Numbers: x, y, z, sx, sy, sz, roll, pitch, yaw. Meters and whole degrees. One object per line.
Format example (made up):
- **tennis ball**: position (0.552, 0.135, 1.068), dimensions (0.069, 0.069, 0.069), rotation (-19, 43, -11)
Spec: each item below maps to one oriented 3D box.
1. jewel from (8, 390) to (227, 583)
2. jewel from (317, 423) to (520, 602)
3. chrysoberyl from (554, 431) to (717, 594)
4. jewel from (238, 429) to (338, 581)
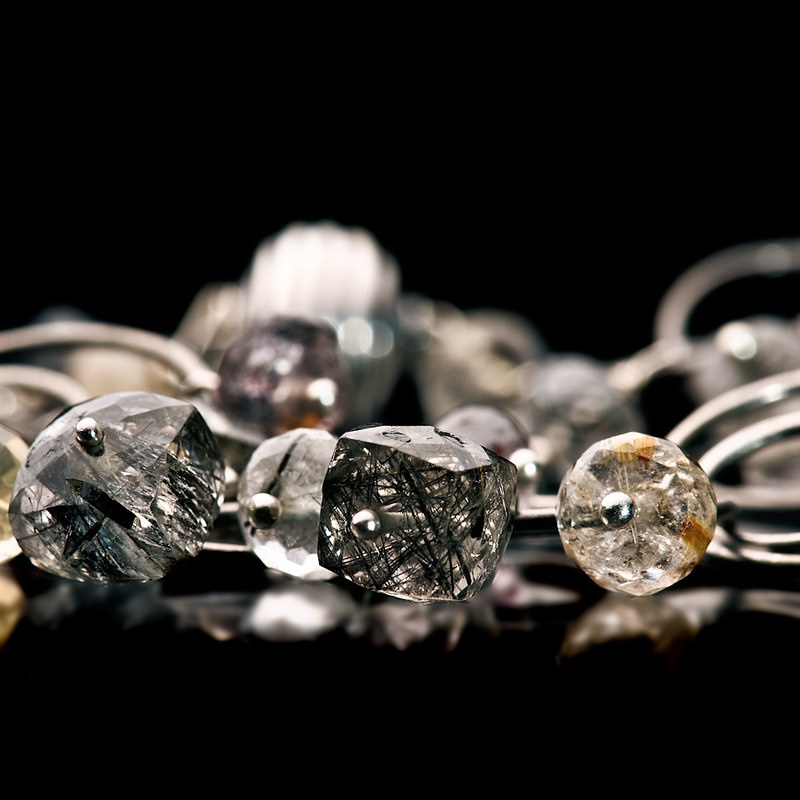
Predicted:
- **jewel**: position (-0.257, 0.074, 0.989), dimensions (0.158, 0.146, 0.149), rotation (9, 38, 19)
- **jewel**: position (0.028, 0.105, 1.022), dimensions (0.181, 0.169, 0.215), rotation (5, 9, 34)
- **chrysoberyl**: position (0.211, 0.099, 0.964), dimensions (0.143, 0.137, 0.092), rotation (0, -6, 9)
- **jewel**: position (-0.099, 0.103, 1.016), dimensions (0.109, 0.124, 0.076), rotation (11, -9, 23)
